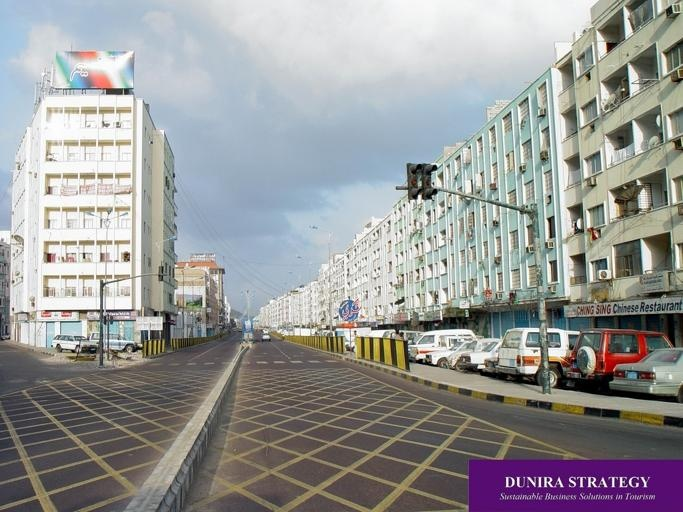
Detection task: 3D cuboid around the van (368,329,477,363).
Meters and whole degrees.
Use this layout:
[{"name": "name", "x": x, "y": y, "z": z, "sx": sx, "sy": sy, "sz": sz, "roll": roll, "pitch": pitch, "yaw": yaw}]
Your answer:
[{"name": "van", "x": 5.132, "y": 4.575, "z": 34.587, "sx": 3.277, "sy": 1.790, "sz": 2.205, "roll": 1, "pitch": -10, "yaw": -8}]

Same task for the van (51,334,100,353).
[{"name": "van", "x": -19.895, "y": 6.541, "z": 47.640, "sx": 3.782, "sy": 1.455, "sz": 1.679, "roll": 8, "pitch": -3, "yaw": 25}]

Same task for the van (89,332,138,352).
[{"name": "van", "x": -17.968, "y": 6.699, "z": 49.132, "sx": 3.433, "sy": 1.727, "sz": 1.798, "roll": 0, "pitch": -6, "yaw": -14}]

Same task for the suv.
[{"name": "suv", "x": 9.293, "y": 3.290, "z": 21.275, "sx": 3.059, "sy": 1.904, "sz": 1.858, "roll": -1, "pitch": -5, "yaw": -12}]

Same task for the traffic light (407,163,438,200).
[{"name": "traffic light", "x": 2.425, "y": -2.293, "z": 19.861, "sx": 0.950, "sy": 1.205, "sz": 1.112, "roll": -3, "pitch": -9, "yaw": 8}]

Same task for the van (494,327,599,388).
[{"name": "van", "x": 7.461, "y": 3.652, "z": 23.833, "sx": 2.884, "sy": 1.681, "sz": 1.736, "roll": -3, "pitch": -4, "yaw": -12}]
